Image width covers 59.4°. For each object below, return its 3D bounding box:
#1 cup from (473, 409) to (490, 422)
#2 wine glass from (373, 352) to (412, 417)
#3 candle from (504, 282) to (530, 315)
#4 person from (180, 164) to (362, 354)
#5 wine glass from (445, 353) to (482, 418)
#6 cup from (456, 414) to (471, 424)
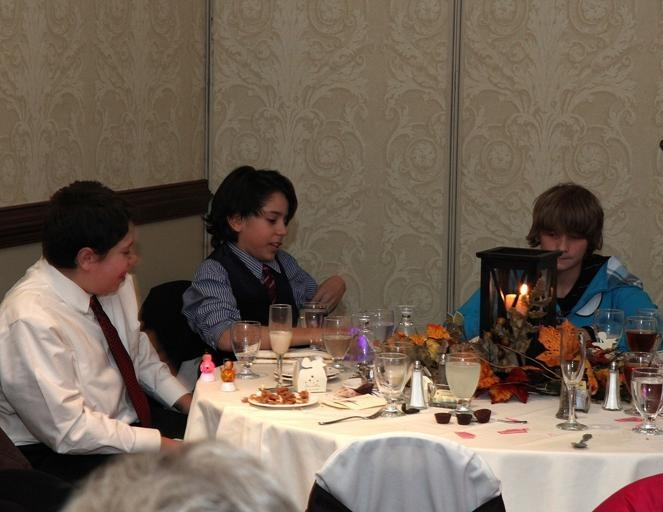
[{"bbox_3d":[0.402,0.423,1.562,0.034,0.026,0.034,-3,-2,0],"label":"cup"},{"bbox_3d":[0.168,0.347,1.619,0.102,0.175,0.102,-2,5,-42],"label":"wine glass"},{"bbox_3d":[0.577,0.125,1.819,0.055,0.102,0.094,4,-4,-25],"label":"candle"},{"bbox_3d":[-0.291,-0.001,3.056,0.489,1.047,0.870,-4,7,26],"label":"person"},{"bbox_3d":[0.360,0.353,1.614,0.091,0.165,0.100,2,-16,1],"label":"wine glass"},{"bbox_3d":[0.350,0.431,1.543,0.028,0.022,0.030,-1,4,0],"label":"cup"}]
